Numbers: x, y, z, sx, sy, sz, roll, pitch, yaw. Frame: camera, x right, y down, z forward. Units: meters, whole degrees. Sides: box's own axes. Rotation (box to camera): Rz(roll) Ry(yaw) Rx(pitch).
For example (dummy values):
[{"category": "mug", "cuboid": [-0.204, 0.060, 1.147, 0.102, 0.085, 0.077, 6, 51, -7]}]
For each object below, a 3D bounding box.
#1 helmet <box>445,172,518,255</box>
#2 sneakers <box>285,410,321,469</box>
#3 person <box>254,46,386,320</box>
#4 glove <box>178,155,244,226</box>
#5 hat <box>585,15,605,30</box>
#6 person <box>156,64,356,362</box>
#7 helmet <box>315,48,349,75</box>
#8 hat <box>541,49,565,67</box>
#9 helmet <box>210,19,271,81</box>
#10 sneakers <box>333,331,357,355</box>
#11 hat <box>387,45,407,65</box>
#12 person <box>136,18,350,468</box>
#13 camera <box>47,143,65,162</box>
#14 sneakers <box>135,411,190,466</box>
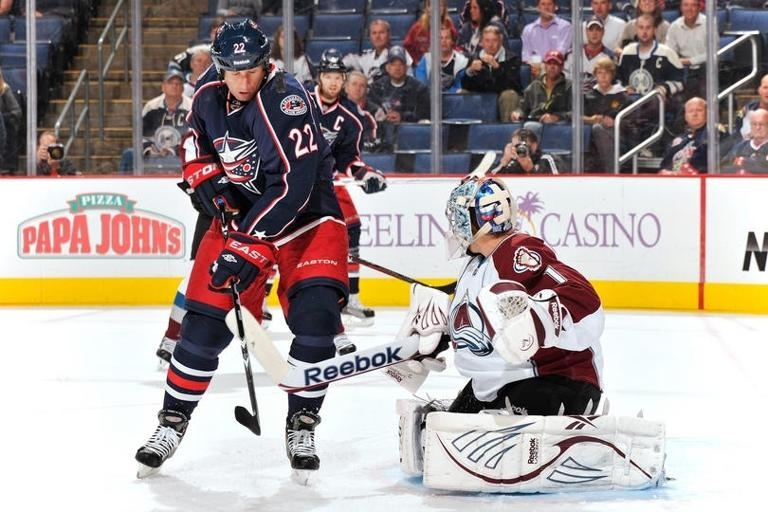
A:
[{"category": "helmet", "cuboid": [0.607, -0.238, 7.408, 0.507, 0.476, 0.401, 0, 3, 14]}, {"category": "sneakers", "cuboid": [-0.475, 1.099, 7.387, 0.208, 0.337, 0.212, 2, 10, -3]}, {"category": "person", "cuboid": [-0.385, -0.307, 10.473, 1.165, 2.913, 1.083, 2, 22, 4]}, {"category": "glove", "cuboid": [-1.057, -0.404, 7.622, 0.428, 0.307, 0.199, 41, 37, 13]}, {"category": "hat", "cuboid": [1.889, -2.089, 11.194, 0.148, 0.101, 0.232, 1, 15, 14]}, {"category": "person", "cuboid": [-1.204, -0.630, 9.316, 0.545, 2.959, 0.468, 10, -12, 0]}, {"category": "helmet", "cuboid": [-0.416, -1.537, 10.036, 0.204, 0.235, 0.280, 1, 26, -6]}, {"category": "hat", "cuboid": [1.541, -1.785, 11.284, 0.169, 0.107, 0.226, 4, 2, 12]}, {"category": "helmet", "cuboid": [-0.859, -1.227, 7.533, 0.396, 0.424, 0.463, -7, 22, -1]}, {"category": "sneakers", "cuboid": [-0.294, 0.658, 9.329, 0.104, 0.132, 0.315, -15, 7, -12]}, {"category": "hat", "cuboid": [0.123, -1.843, 11.442, 0.131, 0.104, 0.197, -1, 5, 3]}, {"category": "person", "cuboid": [-0.877, -0.021, 7.541, 1.304, 2.639, 1.189, -1, 2, 4]}, {"category": "camera", "cuboid": [-3.023, -0.952, 11.527, 0.142, 0.134, 0.131, 3, 9, -23]}, {"category": "sneakers", "cuboid": [-1.310, 1.086, 7.392, 0.135, 0.324, 0.295, 11, 13, 36]}]
